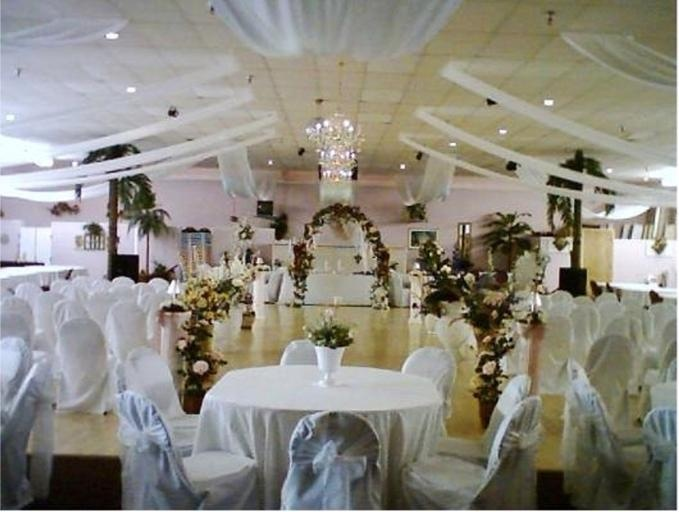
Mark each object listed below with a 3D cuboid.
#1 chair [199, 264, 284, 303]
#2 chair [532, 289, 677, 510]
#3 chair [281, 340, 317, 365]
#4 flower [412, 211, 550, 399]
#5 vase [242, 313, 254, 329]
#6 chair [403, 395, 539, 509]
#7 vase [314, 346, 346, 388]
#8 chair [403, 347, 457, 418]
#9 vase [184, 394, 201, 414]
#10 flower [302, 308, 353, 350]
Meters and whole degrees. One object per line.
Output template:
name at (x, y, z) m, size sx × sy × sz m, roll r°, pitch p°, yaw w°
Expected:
chair at (-1.353, 0.415, 7.791) m, size 0.789 × 0.547 × 0.943 m, roll 3°, pitch -1°, yaw 8°
chair at (2.221, 1.228, 4.378) m, size 0.967 × 0.498 × 1.377 m, roll 2°, pitch 14°, yaw 25°
chair at (-0.373, 0.857, 5.049) m, size 0.274 × 0.362 × 0.274 m, roll 0°, pitch 0°, yaw -6°
flower at (1.511, 0.491, 4.998) m, size 0.987 × 1.482 × 1.035 m, roll -14°, pitch -2°, yaw -16°
vase at (-1.649, 1.165, 9.622) m, size 0.253 × 0.207 × 0.233 m, roll -1°, pitch 1°, yaw -5°
chair at (1.027, 1.455, 3.983) m, size 0.854 × 1.005 × 0.828 m, roll 3°, pitch -1°, yaw 29°
vase at (-0.114, 0.842, 4.194) m, size 0.265 × 0.309 × 0.289 m, roll 2°, pitch 2°, yaw -16°
chair at (0.739, 1.062, 4.597) m, size 0.422 × 0.547 × 0.431 m, roll 21°, pitch 11°, yaw 18°
vase at (-1.424, 1.424, 5.285) m, size 0.180 × 0.178 × 0.183 m, roll 1°, pitch 1°, yaw 6°
flower at (-0.103, 0.599, 4.165) m, size 0.366 × 0.264 × 0.345 m, roll 7°, pitch -18°, yaw -36°
